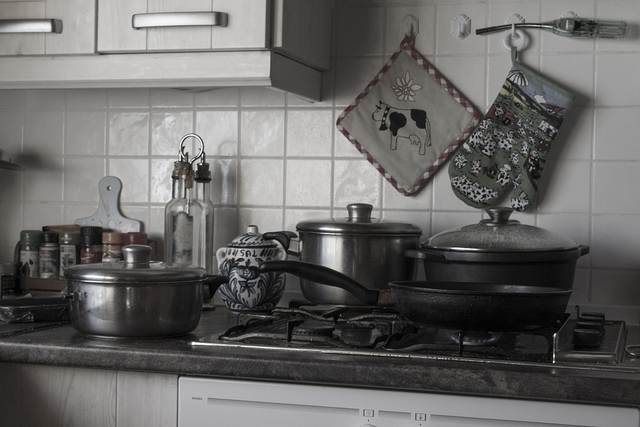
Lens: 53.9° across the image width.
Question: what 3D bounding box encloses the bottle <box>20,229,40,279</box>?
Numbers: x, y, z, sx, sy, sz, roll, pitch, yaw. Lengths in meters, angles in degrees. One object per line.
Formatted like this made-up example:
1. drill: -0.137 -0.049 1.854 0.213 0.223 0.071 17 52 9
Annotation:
1. bottle: -0.980 0.136 2.118 0.066 0.153 0.047 1 3 -11

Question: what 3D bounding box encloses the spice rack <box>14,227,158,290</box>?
1. spice rack: -0.795 0.150 2.146 0.477 0.187 0.197 0 5 1

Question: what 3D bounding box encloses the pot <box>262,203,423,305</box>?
1. pot: 0.074 0.067 1.889 0.391 0.294 0.436 2 6 20

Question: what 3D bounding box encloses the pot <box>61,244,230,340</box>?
1. pot: -0.428 0.188 1.543 0.393 0.217 0.167 1 3 -8

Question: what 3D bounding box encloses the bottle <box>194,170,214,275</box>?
1. bottle: -0.375 0.029 2.039 0.070 0.334 0.064 2 10 0

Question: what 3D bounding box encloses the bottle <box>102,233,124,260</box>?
1. bottle: -0.672 0.108 2.082 0.094 0.101 0.093 3 -7 -24

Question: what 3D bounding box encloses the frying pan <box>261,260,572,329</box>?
1. frying pan: 0.231 0.184 1.492 0.668 0.118 0.263 3 3 19

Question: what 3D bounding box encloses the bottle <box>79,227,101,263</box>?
1. bottle: -0.751 0.121 2.079 0.082 0.144 0.079 0 -4 0

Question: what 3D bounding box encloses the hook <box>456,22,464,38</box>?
1. hook: 0.438 -0.576 1.975 0.030 0.040 0.010 5 -1 14

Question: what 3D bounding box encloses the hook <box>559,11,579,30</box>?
1. hook: 0.759 -0.596 1.918 0.047 0.064 0.023 3 -13 8

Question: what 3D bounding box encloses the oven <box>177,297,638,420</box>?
1. oven: 0.218 0.333 1.489 1.018 0.282 0.387 2 3 11

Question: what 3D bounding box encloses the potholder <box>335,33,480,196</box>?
1. potholder: 0.281 -0.314 2.020 0.476 0.466 0.072 42 12 10

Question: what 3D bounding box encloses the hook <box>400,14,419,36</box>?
1. hook: 0.288 -0.604 2.012 0.070 0.071 0.037 0 -2 25

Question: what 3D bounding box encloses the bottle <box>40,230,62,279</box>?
1. bottle: -0.911 0.137 2.110 0.053 0.155 0.095 -1 4 -40
